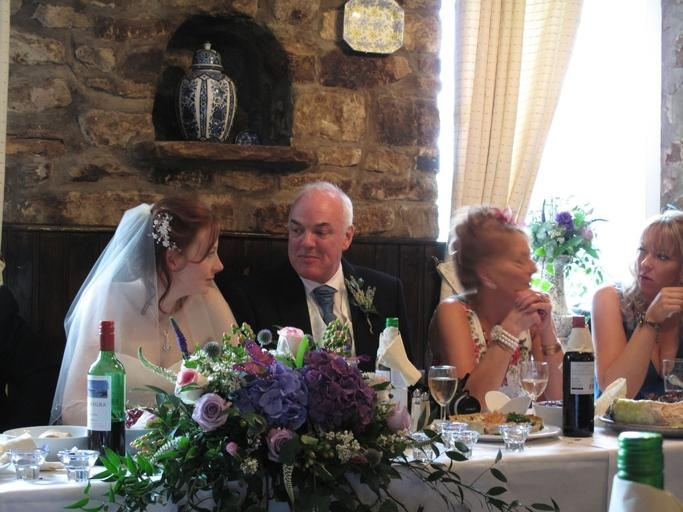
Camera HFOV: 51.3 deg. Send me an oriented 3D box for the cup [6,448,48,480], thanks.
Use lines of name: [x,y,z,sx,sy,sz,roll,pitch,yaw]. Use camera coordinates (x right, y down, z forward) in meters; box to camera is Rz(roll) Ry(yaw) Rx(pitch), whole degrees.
cup: [-0.822,0.541,1.860,0.090,0.076,0.099,1,-4,-26]

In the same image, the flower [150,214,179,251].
flower: [-0.719,-0.097,2.892,0.111,0.154,0.041,-2,-3,17]

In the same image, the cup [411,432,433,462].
cup: [0.226,0.524,1.960,0.078,0.091,0.079,-1,-7,0]

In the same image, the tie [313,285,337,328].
tie: [-0.074,0.226,3.366,0.124,0.193,0.055,-3,19,-4]

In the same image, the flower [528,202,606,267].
flower: [1.348,-0.088,4.216,0.328,0.406,0.383,9,-11,4]

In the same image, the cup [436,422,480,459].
cup: [0.331,0.507,1.968,0.097,0.071,0.099,0,-7,0]

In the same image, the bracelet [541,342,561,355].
bracelet: [0.872,0.380,2.946,0.055,0.039,0.055,-7,-4,-24]

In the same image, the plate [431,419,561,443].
plate: [0.526,0.546,2.197,0.193,0.021,0.196,1,-5,-9]

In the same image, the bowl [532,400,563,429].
bowl: [0.705,0.534,2.410,0.082,0.041,0.083,2,-5,0]

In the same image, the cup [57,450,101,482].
cup: [-0.666,0.529,1.807,0.085,0.061,0.084,0,-13,0]

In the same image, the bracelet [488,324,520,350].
bracelet: [0.638,0.318,2.817,0.093,0.064,0.092,36,-6,-28]

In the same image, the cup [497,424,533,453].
cup: [0.503,0.523,2.062,0.080,0.060,0.078,-1,-7,0]

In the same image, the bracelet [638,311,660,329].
bracelet: [1.269,0.263,2.926,0.062,0.053,0.037,17,-37,1]
